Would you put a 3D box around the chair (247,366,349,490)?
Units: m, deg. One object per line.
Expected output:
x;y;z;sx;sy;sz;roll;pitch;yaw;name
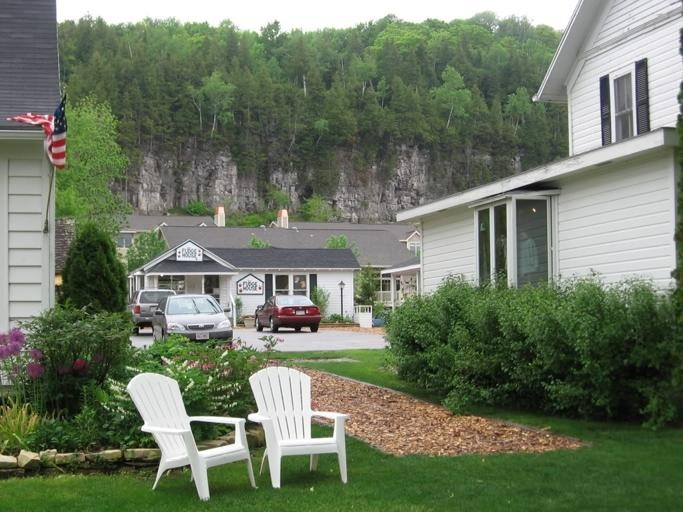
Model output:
-0.723;2.512;15.342;1.328;1.755;1.773;1;-8;-24;chair

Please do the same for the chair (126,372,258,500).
-2.243;2.589;15.061;1.640;1.629;1.454;-5;-3;39;chair

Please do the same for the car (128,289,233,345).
-3.982;1.591;26.811;1.644;1.398;2.732;3;-8;-32;car

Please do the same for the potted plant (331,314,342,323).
-0.203;2.860;46.635;0.331;0.325;0.337;2;0;-13;potted plant
